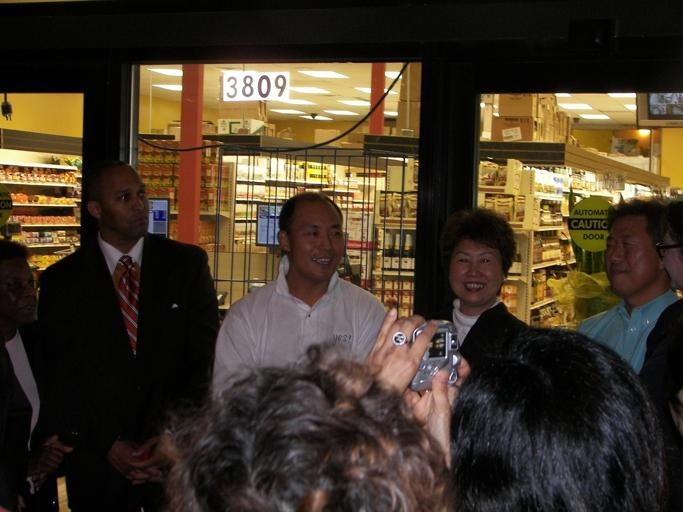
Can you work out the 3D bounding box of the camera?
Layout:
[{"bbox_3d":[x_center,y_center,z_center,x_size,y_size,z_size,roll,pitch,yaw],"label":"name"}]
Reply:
[{"bbox_3d":[0.175,0.187,1.200,0.125,0.136,0.042,2,-2,-43],"label":"camera"}]
